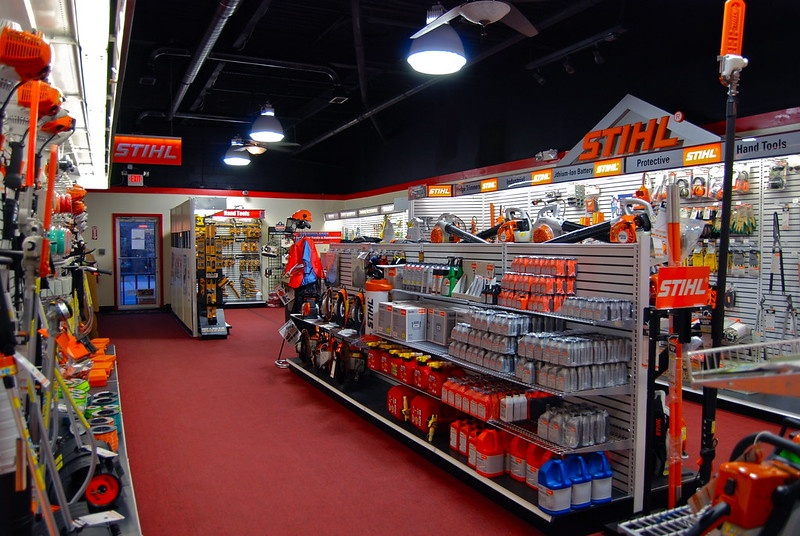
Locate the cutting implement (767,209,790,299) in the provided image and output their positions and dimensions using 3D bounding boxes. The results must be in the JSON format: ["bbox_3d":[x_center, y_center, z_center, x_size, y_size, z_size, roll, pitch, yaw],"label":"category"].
[{"bbox_3d":[4.667,-0.172,6.228,0.077,1.033,0.207,-3,0,12],"label":"cutting implement"}]

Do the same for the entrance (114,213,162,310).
[{"bbox_3d":[-7.699,-0.194,14.861,1.311,2.928,0.187,-3,-4,-13],"label":"entrance"}]

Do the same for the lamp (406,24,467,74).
[{"bbox_3d":[0.402,-2.497,5.703,0.644,0.441,0.485,-1,6,1],"label":"lamp"}]

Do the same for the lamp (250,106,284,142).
[{"bbox_3d":[-2.473,-2.696,9.322,0.537,0.718,1.023,-3,6,-13],"label":"lamp"}]

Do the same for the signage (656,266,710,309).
[{"bbox_3d":[2.151,0.147,3.860,0.313,0.225,0.006,-5,15,-18],"label":"signage"}]

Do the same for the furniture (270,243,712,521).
[{"bbox_3d":[1.395,0.659,5.819,1.235,1.975,4.697,7,1,-6],"label":"furniture"}]
